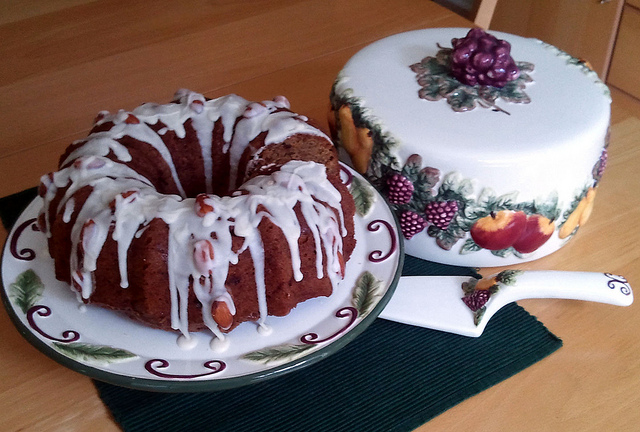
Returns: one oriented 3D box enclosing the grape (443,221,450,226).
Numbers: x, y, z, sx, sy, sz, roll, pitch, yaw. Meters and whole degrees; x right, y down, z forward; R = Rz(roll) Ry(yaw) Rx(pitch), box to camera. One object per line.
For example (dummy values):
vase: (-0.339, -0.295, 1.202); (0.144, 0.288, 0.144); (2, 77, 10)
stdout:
grape: (0.242, 0.015, 1.245); (0.014, 0.006, 0.004); (-6, 19, -4)

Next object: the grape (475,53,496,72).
grape: (0.315, -0.291, 1.240); (0.035, 0.029, 0.018); (16, 3, 0)

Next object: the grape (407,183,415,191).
grape: (0.175, -0.054, 1.237); (0.013, 0.005, 0.011); (-7, 40, -6)

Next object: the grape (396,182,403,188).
grape: (0.153, -0.060, 1.248); (0.011, 0.003, 0.009); (-1, 41, 9)

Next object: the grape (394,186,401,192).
grape: (0.149, -0.052, 1.257); (0.011, 0.005, 0.009); (0, 46, 6)

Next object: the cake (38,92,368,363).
cake: (-0.230, 0.006, 1.189); (0.609, 0.263, 0.478); (-9, 41, -3)
